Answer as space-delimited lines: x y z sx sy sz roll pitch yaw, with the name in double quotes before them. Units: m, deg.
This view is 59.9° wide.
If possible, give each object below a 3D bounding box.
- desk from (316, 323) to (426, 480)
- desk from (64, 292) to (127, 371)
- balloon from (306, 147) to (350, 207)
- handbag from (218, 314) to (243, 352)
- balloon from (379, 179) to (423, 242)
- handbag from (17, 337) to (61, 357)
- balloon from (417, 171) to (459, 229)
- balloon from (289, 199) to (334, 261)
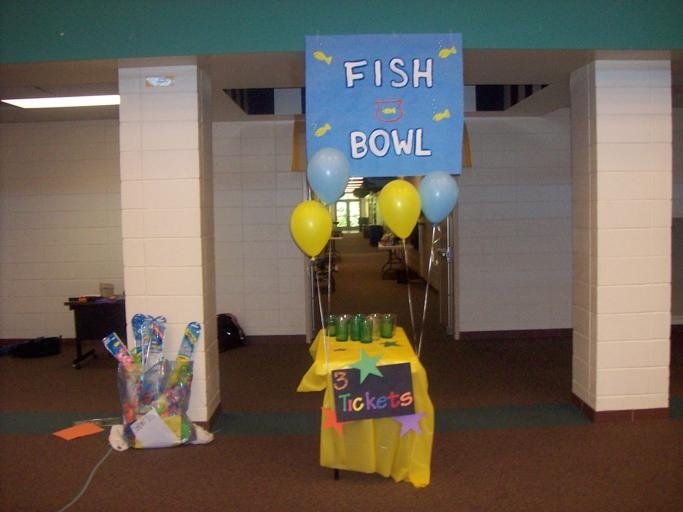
"desk" 0.326 1.251 5.185 0.914 0.809 1.607 -8 12 -2
"desk" -2.924 0.919 7.416 0.873 0.807 0.809 -2 2 6
"balloon" -0.104 -0.640 4.857 0.381 0.499 0.388 2 -5 -38
"handbag" -1.466 1.030 7.768 0.393 0.393 0.217 -4 -7 -40
"balloon" 0.483 -0.365 4.892 0.344 0.509 0.257 0 15 5
"handbag" -3.893 1.185 7.674 0.347 0.171 0.275 -1 3 -13
"balloon" 0.804 -0.469 4.966 0.353 0.454 0.367 4 1 -7
"balloon" -0.246 -0.198 4.870 0.321 0.508 0.285 -2 15 -5
